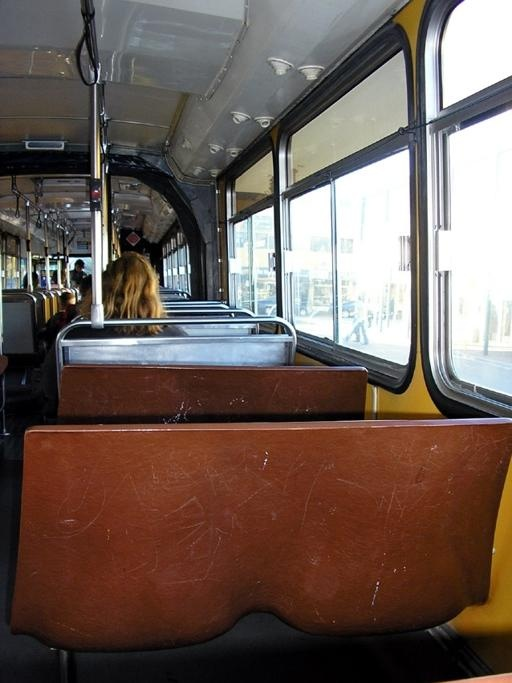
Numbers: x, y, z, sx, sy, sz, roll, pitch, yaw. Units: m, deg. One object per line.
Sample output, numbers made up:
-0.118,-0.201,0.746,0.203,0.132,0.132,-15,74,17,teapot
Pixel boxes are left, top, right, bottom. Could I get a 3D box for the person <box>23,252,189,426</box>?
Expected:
-0.797,-0.018,2.720,0.727,0.450,1.042,-1,17,-9,person
